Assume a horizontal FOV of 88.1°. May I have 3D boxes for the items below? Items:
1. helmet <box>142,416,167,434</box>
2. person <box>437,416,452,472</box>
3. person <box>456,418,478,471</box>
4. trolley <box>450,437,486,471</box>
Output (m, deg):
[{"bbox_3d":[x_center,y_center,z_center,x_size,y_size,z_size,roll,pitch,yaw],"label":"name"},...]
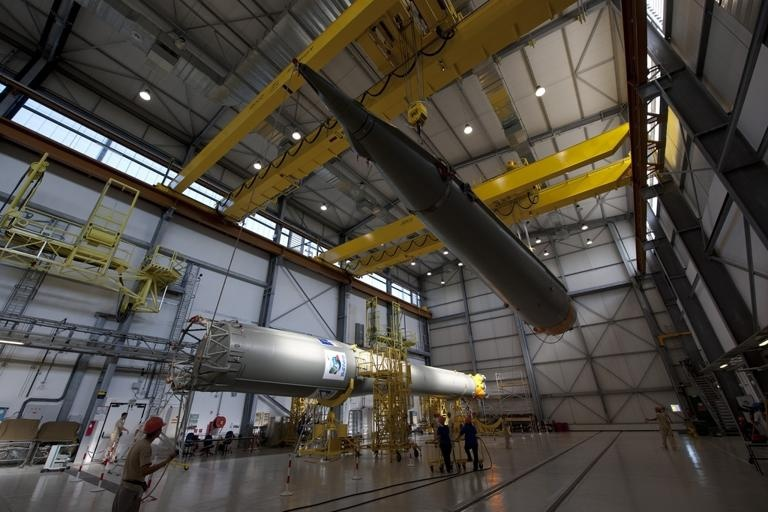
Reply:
[{"bbox_3d":[-6.788,4.955,11.858,0.474,0.299,0.636,0,0,-2],"label":"helmet"},{"bbox_3d":[2.547,7.822,16.566,0.561,2.105,0.724,-5,-29,7],"label":"person"},{"bbox_3d":[3.647,7.759,16.818,0.692,1.974,0.601,-7,6,-6],"label":"person"},{"bbox_3d":[3.512,8.414,16.907,1.234,1.428,2.022,0,-11,-2],"label":"trolley"}]
